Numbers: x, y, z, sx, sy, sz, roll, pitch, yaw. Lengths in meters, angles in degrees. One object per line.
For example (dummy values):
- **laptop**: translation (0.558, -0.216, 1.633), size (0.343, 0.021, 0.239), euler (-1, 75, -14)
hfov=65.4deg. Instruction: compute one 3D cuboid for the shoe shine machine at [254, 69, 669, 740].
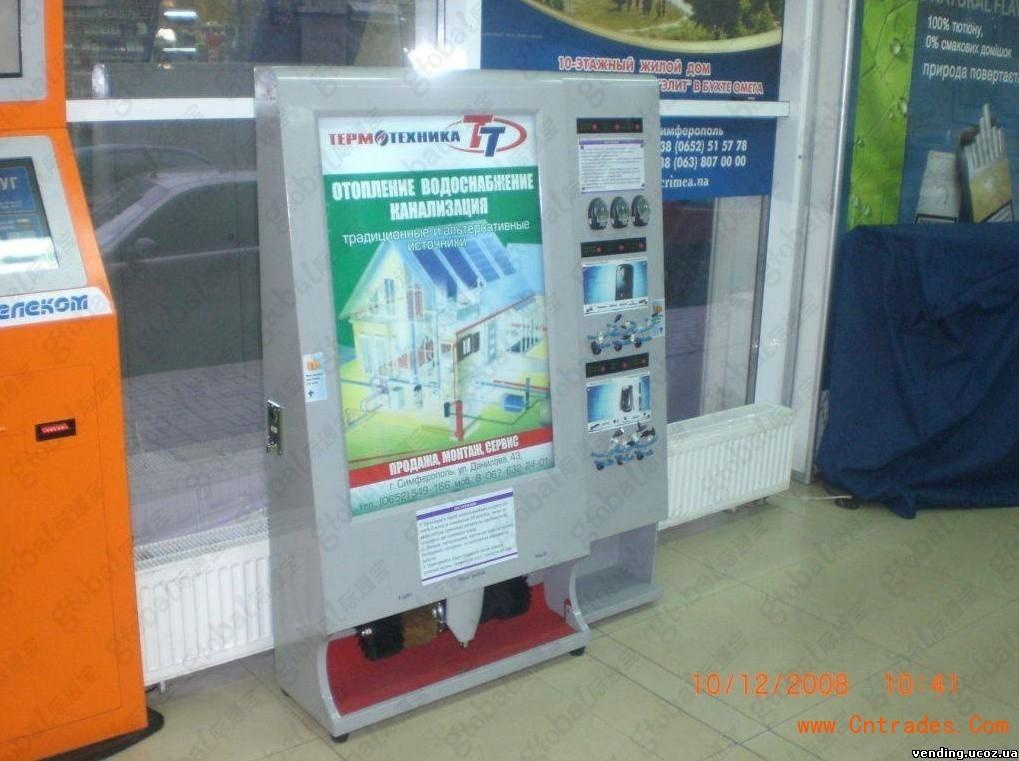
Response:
- **shoe shine machine**: translation (-0.161, 0.024, 3.013), size (1.642, 2.320, 0.664), euler (-18, 24, -34)
